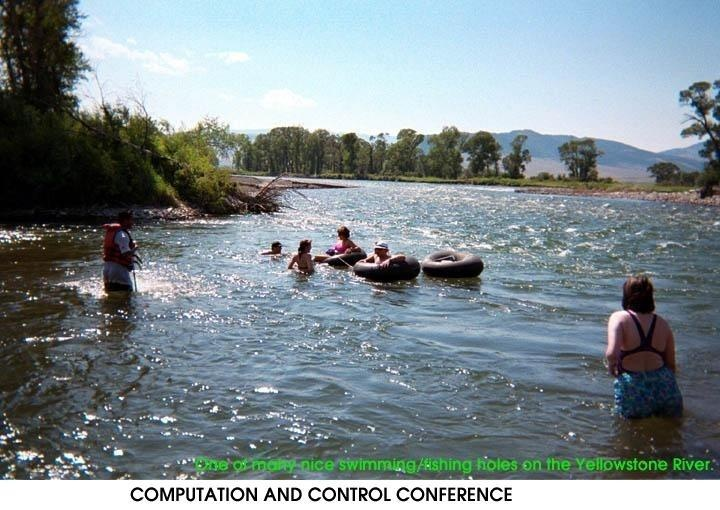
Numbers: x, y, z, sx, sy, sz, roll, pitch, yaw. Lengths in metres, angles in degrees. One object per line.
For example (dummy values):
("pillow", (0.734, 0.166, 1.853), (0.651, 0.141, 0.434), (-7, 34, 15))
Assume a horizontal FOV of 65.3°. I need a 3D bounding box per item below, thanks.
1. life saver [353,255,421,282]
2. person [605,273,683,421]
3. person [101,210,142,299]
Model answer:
("life saver", (0.695, 0.386, 15.500), (1.678, 0.729, 0.763), (1, 2, 6))
("person", (4.084, 1.374, 8.187), (1.059, 2.160, 0.545), (1, 2, 13))
("person", (-5.541, -0.068, 13.022), (0.750, 1.856, 0.529), (0, 2, -5))
